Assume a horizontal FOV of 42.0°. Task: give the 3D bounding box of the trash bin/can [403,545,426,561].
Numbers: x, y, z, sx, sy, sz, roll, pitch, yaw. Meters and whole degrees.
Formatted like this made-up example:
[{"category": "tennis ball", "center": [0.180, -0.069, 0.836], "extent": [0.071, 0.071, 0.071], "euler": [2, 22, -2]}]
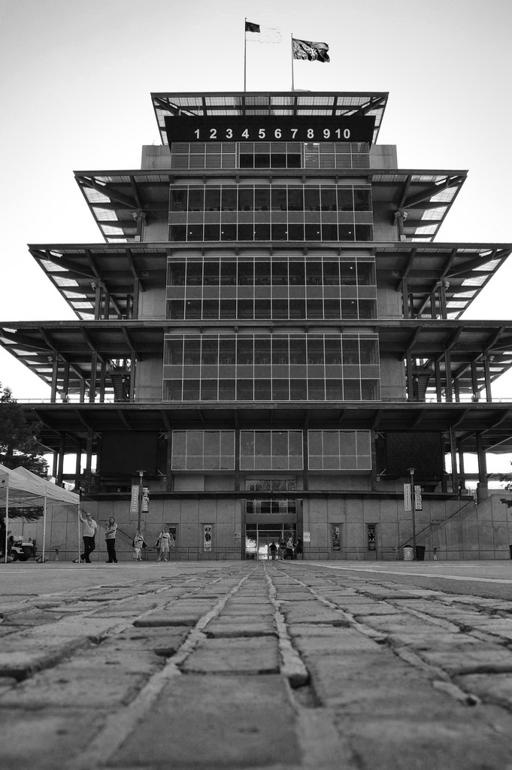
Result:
[{"category": "trash bin/can", "center": [10.103, 10.738, 42.377], "extent": [1.124, 1.075, 1.440], "euler": [0, -12, 2]}]
